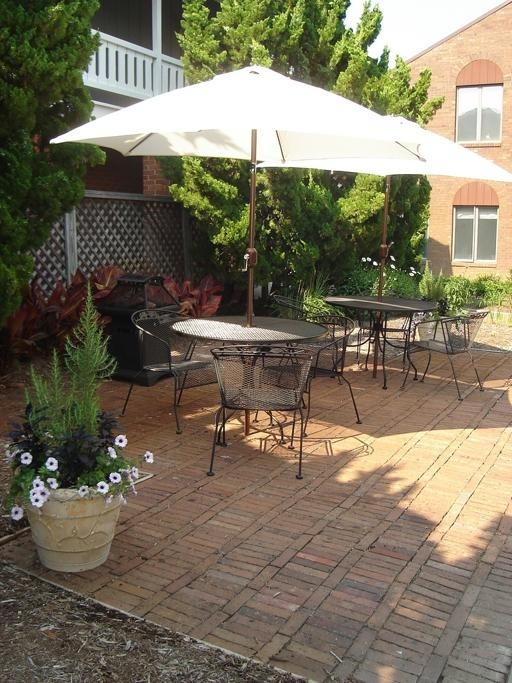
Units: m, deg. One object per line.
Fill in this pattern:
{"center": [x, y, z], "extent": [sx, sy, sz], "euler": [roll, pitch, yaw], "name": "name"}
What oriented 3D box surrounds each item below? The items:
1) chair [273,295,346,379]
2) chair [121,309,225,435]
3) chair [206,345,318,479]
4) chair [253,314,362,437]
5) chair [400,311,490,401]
{"center": [0.644, 0.062, 5.604], "extent": [0.799, 0.778, 0.770], "euler": [-3, -7, -29], "name": "chair"}
{"center": [-0.758, 0.235, 5.127], "extent": [0.758, 0.996, 0.740], "euler": [11, 14, 37], "name": "chair"}
{"center": [0.024, 0.423, 3.641], "extent": [0.750, 0.849, 0.654], "euler": [2, 9, -7], "name": "chair"}
{"center": [0.537, 0.270, 5.456], "extent": [0.987, 1.248, 1.060], "euler": [1, 7, -3], "name": "chair"}
{"center": [1.807, 0.103, 5.590], "extent": [0.607, 0.707, 0.543], "euler": [-2, 0, 0], "name": "chair"}
